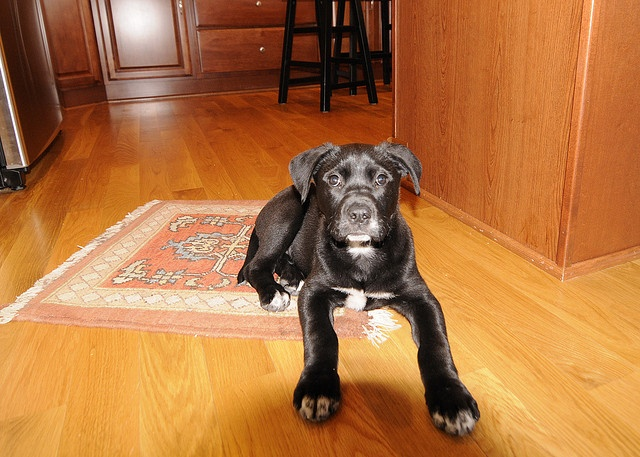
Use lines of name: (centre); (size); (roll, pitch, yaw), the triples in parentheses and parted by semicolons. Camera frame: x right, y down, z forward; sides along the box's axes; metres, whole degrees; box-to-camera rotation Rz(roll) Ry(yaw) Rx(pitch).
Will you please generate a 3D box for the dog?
dog: (0.123, 0.034, 1.673); (0.702, 0.720, 1.411); (1, 23, -14)
